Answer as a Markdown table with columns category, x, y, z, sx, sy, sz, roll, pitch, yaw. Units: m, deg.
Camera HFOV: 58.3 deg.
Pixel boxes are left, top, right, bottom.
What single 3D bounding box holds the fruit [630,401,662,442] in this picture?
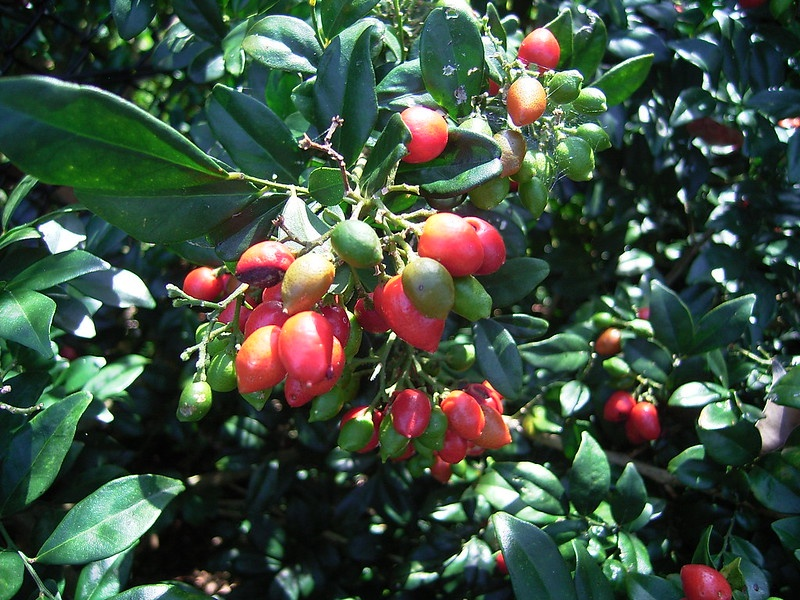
| category | x | y | z | sx | sy | sz | roll | pitch | yaw |
| --- | --- | --- | --- | --- | --- | --- | --- | --- | --- |
| fruit | 0.641 | 0.318 | 1.910 | 0.079 | 0.113 | 0.082 | 0 | 4 | -5 |

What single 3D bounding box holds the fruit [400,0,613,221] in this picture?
| category | x | y | z | sx | sy | sz | roll | pitch | yaw |
| --- | --- | --- | --- | --- | --- | --- | --- | --- | --- |
| fruit | 0.231 | -0.406 | 1.591 | 0.476 | 0.477 | 0.202 | 5 | -2 | -22 |

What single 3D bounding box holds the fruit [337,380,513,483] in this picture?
| category | x | y | z | sx | sy | sz | roll | pitch | yaw |
| --- | --- | --- | --- | --- | --- | --- | --- | --- | --- |
| fruit | 0.074 | 0.268 | 1.652 | 0.309 | 0.162 | 0.211 | -3 | 10 | -16 |

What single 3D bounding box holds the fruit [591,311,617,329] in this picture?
| category | x | y | z | sx | sy | sz | roll | pitch | yaw |
| --- | --- | --- | --- | --- | --- | --- | --- | --- | --- |
| fruit | 0.579 | 0.058 | 2.028 | 0.051 | 0.044 | 0.040 | -2 | 11 | 23 |

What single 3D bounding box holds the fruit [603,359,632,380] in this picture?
| category | x | y | z | sx | sy | sz | roll | pitch | yaw |
| --- | --- | --- | --- | --- | --- | --- | --- | --- | --- |
| fruit | 0.592 | 0.186 | 1.960 | 0.072 | 0.048 | 0.043 | 20 | -7 | -25 |
